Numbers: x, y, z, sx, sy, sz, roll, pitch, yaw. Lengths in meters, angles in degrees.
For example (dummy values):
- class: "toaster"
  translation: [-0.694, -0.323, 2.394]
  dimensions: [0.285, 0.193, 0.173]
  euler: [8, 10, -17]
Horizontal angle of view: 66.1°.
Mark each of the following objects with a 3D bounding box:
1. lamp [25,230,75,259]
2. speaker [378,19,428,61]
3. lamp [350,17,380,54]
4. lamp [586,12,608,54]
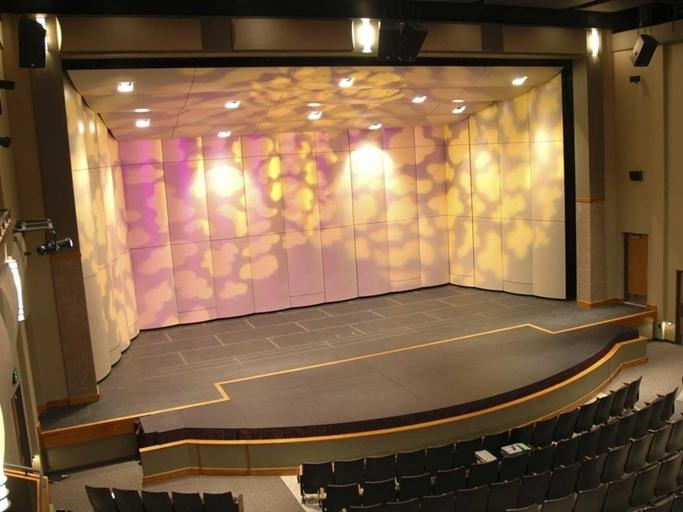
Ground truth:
- class: "lamp"
  translation: [-4.505, -0.186, 8.061]
  dimensions: [0.240, 0.393, 0.732]
  euler: [13, 21, 35]
- class: "speaker"
  translation: [0.967, -3.530, 8.527]
  dimensions: [0.780, 0.596, 0.281]
  euler: [-1, 15, 9]
- class: "lamp"
  translation: [0.417, -3.905, 9.288]
  dimensions: [0.562, 0.569, 0.149]
  euler: [-12, 17, -32]
- class: "lamp"
  translation: [5.459, -4.839, 11.399]
  dimensions: [0.589, 0.874, 0.171]
  euler: [-13, 18, -35]
